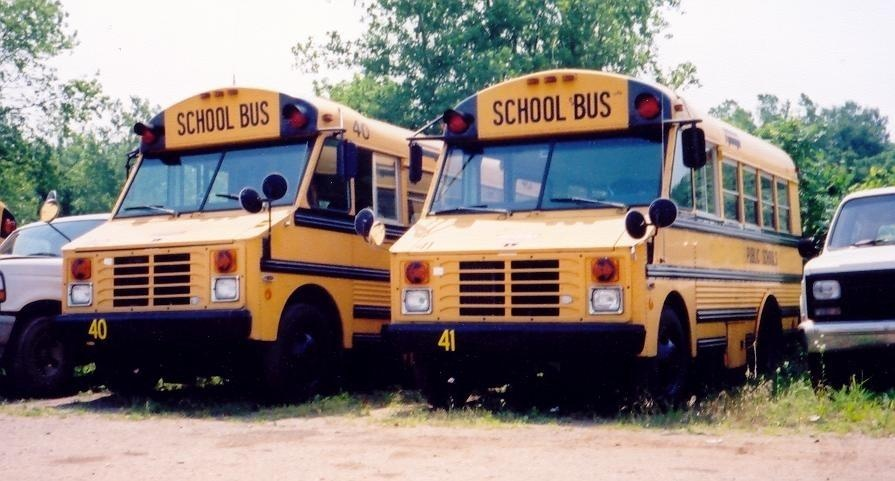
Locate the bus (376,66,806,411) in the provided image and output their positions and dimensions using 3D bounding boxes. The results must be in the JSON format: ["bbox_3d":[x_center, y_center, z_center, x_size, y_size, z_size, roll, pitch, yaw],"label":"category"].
[{"bbox_3d":[2.679,-0.080,11.910,7.148,5.286,2.873,-2,1,-28],"label":"bus"}]
